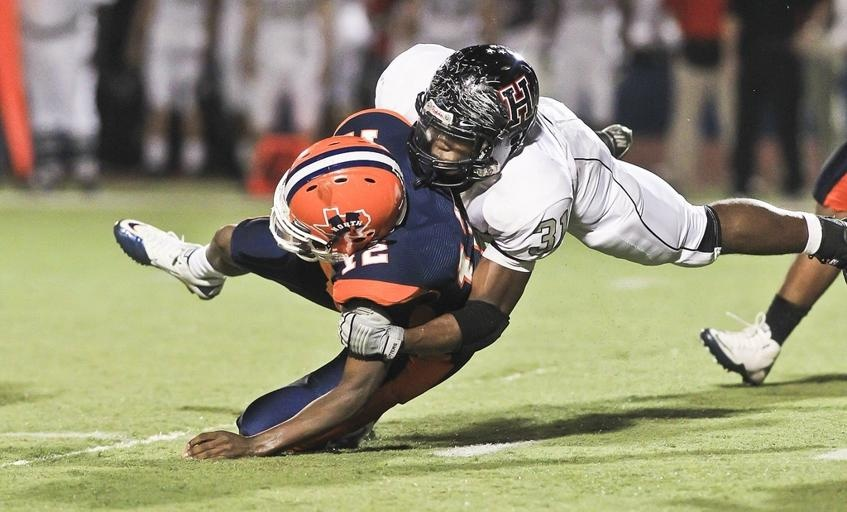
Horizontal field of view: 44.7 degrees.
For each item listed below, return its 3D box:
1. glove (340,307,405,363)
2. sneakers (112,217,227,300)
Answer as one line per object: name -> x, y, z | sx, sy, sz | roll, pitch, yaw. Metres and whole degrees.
glove -> -0.227, 0.364, 4.595 | 0.288, 0.147, 0.206 | 13, 21, -48
sneakers -> -1.605, 0.046, 6.404 | 0.697, 0.271, 0.245 | 31, 25, -7
